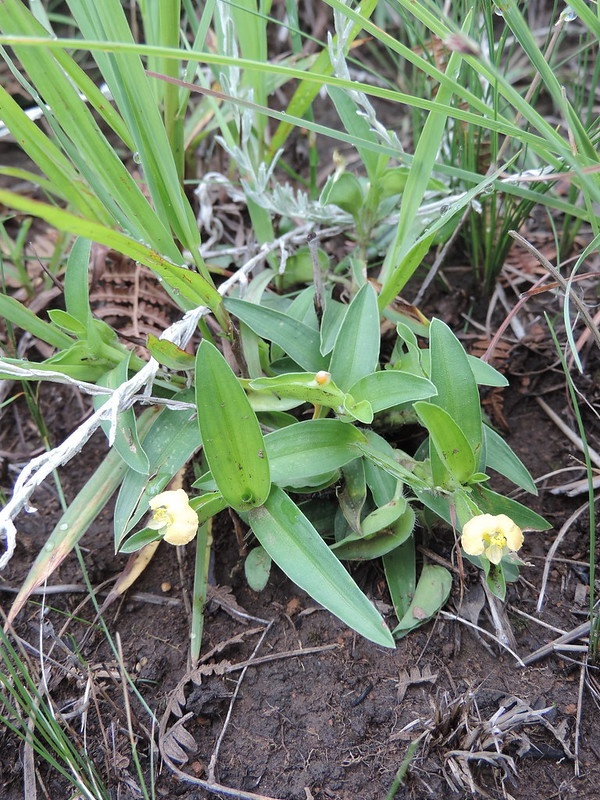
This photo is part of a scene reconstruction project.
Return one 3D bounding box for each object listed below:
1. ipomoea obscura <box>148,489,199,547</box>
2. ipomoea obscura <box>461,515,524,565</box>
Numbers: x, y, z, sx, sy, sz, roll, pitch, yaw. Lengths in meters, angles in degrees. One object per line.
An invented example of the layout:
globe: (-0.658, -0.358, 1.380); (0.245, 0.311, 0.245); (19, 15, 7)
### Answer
ipomoea obscura: (-0.146, 0.132, 0.804); (0.061, 0.027, 0.063); (-16, 94, 31)
ipomoea obscura: (0.223, 0.147, 0.761); (0.060, 0.024, 0.058); (12, 95, 11)
